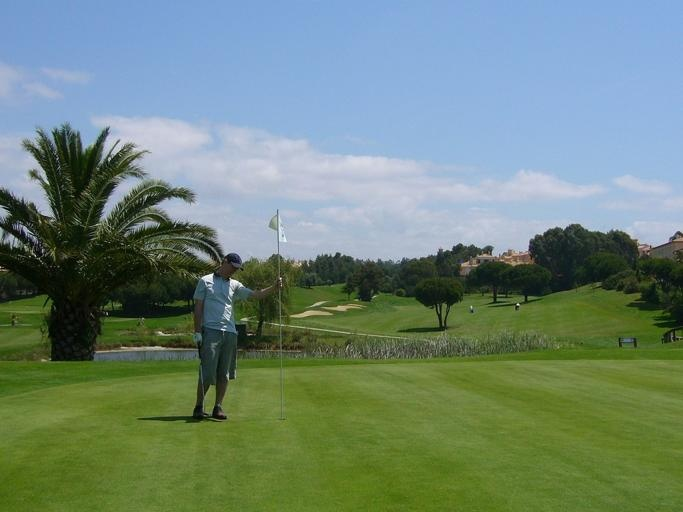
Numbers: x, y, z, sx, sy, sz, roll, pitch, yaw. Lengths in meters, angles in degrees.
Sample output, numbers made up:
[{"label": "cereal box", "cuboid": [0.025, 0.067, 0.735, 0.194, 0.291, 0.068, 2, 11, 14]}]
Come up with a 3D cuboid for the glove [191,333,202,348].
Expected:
[{"label": "glove", "cuboid": [-2.094, 1.235, 9.521, 0.095, 0.234, 0.468, 0, -5, -12]}]

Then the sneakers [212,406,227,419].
[{"label": "sneakers", "cuboid": [-1.725, 2.234, 9.230, 0.208, 0.163, 0.343, 0, -5, -11]}]

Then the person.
[{"label": "person", "cuboid": [-1.724, 1.165, 9.784, 0.965, 2.378, 1.325, 0, -4, -9]}]
